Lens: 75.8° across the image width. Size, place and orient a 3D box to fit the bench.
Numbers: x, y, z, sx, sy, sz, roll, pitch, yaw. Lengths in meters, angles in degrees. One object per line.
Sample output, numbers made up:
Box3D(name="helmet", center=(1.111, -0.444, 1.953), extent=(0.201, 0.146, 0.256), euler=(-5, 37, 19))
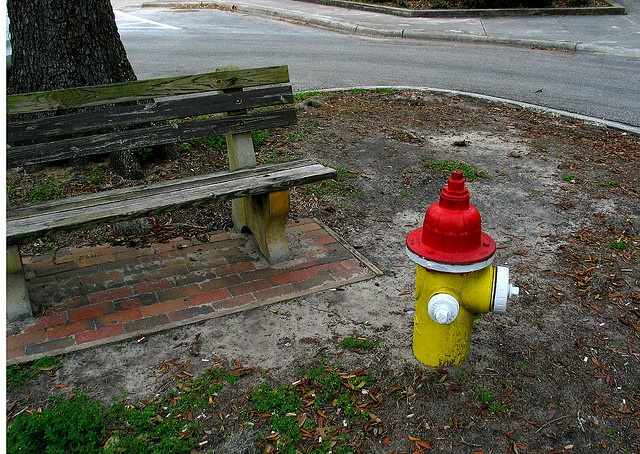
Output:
Box3D(name="bench", center=(-1.430, -0.526, 3.789), extent=(2.885, 1.646, 1.533), euler=(-13, 40, -21))
